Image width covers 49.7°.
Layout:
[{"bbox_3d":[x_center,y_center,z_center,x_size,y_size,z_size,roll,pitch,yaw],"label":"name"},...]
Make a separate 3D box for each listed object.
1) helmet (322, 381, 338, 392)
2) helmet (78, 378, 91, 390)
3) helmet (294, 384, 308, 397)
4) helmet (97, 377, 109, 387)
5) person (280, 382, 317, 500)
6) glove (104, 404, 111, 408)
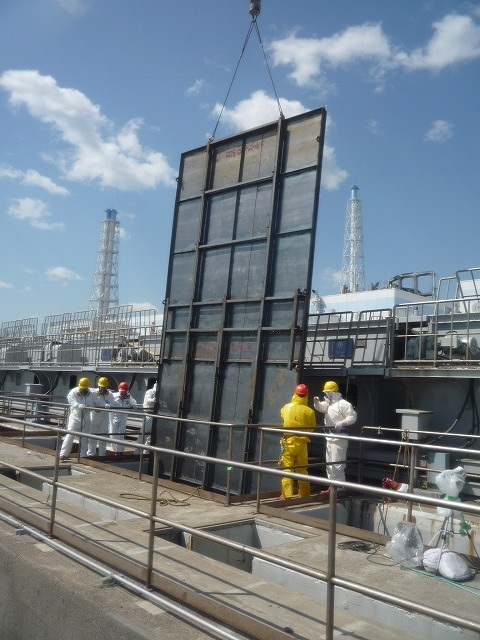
[{"bbox_3d":[1.714,1.251,9.572,0.315,0.181,0.252,10,-12,-39],"label":"helmet"},{"bbox_3d":[-3.953,1.616,13.210,0.370,0.291,0.485,0,5,-29],"label":"helmet"},{"bbox_3d":[1.058,1.220,8.983,0.212,0.205,0.190,0,6,-40],"label":"helmet"},{"bbox_3d":[-3.551,1.644,13.473,0.277,0.213,0.338,1,7,-25],"label":"helmet"},{"bbox_3d":[0.950,2.039,8.680,0.681,1.844,1.597,-6,-5,6],"label":"person"},{"bbox_3d":[-3.462,2.237,13.489,0.153,0.107,0.155,0,0,-20],"label":"glove"}]
